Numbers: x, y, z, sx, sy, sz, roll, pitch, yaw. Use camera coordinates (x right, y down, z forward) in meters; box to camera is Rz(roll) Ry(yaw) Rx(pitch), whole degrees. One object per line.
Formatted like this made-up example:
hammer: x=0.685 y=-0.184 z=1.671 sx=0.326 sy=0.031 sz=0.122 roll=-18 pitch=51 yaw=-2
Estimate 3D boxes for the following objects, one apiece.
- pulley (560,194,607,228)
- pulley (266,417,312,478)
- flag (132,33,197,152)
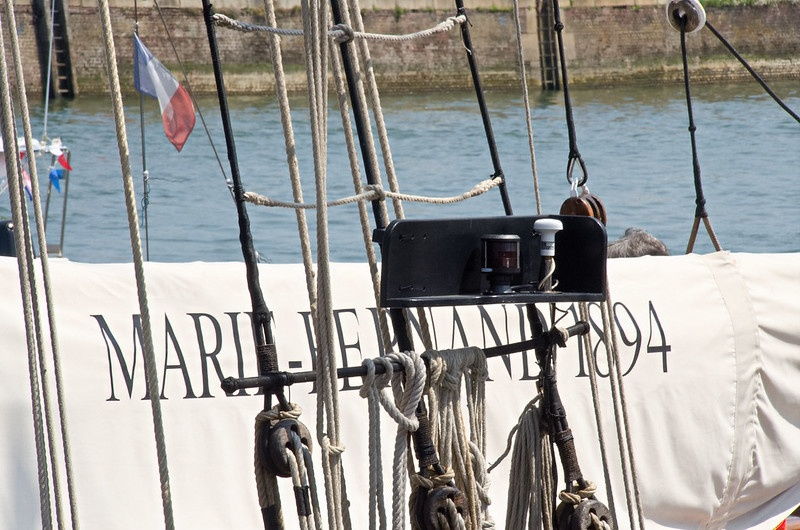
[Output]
pulley: x=4.247 y=-1.319 z=57.217 sx=1.015 sy=0.683 sz=0.377 roll=-4 pitch=8 yaw=6
pulley: x=-2.611 y=4.337 z=56.289 sx=1.182 sy=1.547 sz=0.469 roll=4 pitch=-8 yaw=-36
flag: x=-6.369 y=-4.769 z=65.927 sx=1.498 sy=3.376 sz=1.200 roll=-5 pitch=8 yaw=-10
